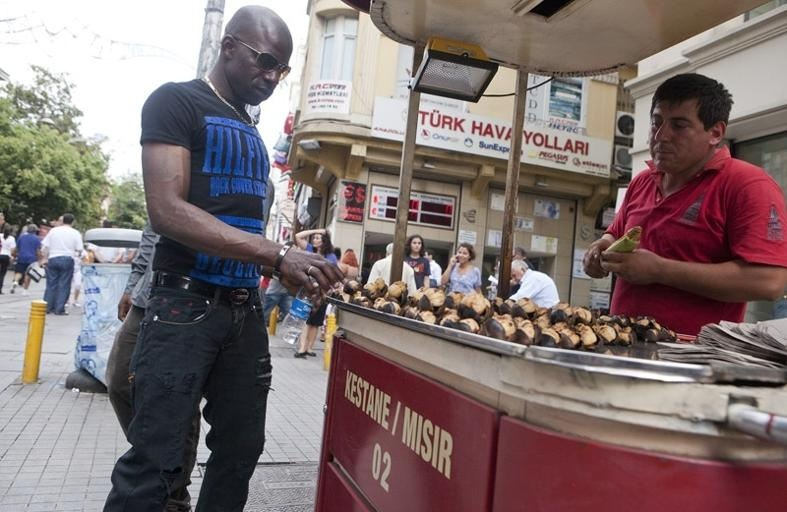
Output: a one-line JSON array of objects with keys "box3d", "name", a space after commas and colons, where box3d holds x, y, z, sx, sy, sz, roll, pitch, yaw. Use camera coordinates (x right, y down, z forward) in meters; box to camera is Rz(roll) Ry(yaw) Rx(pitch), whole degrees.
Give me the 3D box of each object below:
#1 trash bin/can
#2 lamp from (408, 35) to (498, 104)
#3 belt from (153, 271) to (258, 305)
[{"box3d": [-3.260, 0.628, 6.493, 0.975, 1.795, 0.983, -1, -4, 12], "name": "trash bin/can"}, {"box3d": [0.481, -1.444, 4.217, 0.636, 0.263, 0.545, 5, -2, -15], "name": "lamp"}, {"box3d": [-0.989, 0.118, 2.956, 0.274, 0.069, 0.272, 14, -1, -7], "name": "belt"}]
